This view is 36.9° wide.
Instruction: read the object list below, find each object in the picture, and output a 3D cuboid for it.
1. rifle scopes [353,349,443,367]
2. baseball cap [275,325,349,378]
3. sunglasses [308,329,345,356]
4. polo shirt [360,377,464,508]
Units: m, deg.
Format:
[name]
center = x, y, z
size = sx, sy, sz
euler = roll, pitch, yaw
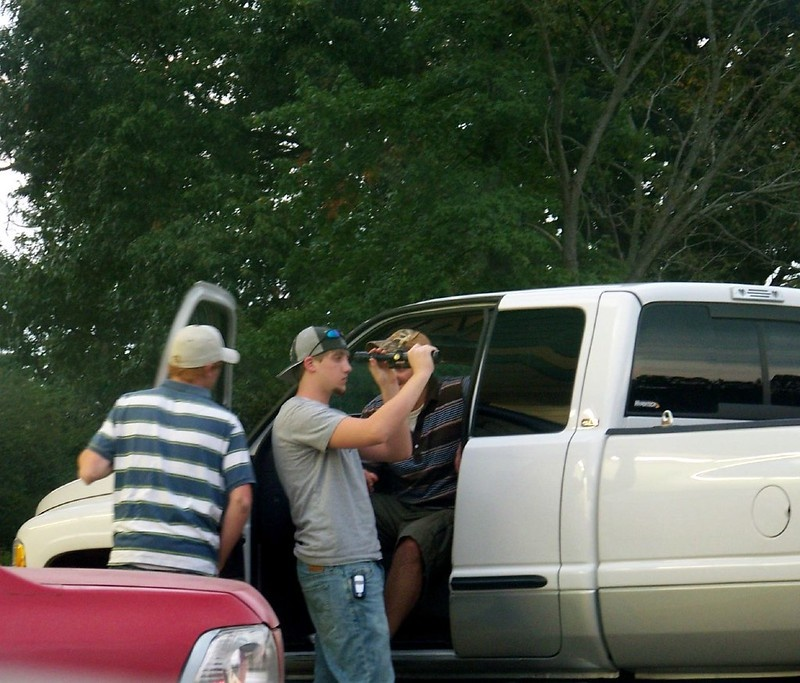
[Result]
[rifle scopes]
center = -0.003, 0.079, 5.539
size = 0.299, 0.063, 0.088
euler = -2, 19, 31
[baseball cap]
center = -0.397, 0.052, 5.501
size = 0.329, 0.154, 0.192
euler = -13, -6, -1
[sunglasses]
center = -0.330, 0.022, 5.442
size = 0.154, 0.069, 0.120
euler = -20, -16, 30
[polo shirt]
center = 0.078, 0.519, 5.902
size = 0.655, 0.532, 0.390
euler = -12, -23, 43
